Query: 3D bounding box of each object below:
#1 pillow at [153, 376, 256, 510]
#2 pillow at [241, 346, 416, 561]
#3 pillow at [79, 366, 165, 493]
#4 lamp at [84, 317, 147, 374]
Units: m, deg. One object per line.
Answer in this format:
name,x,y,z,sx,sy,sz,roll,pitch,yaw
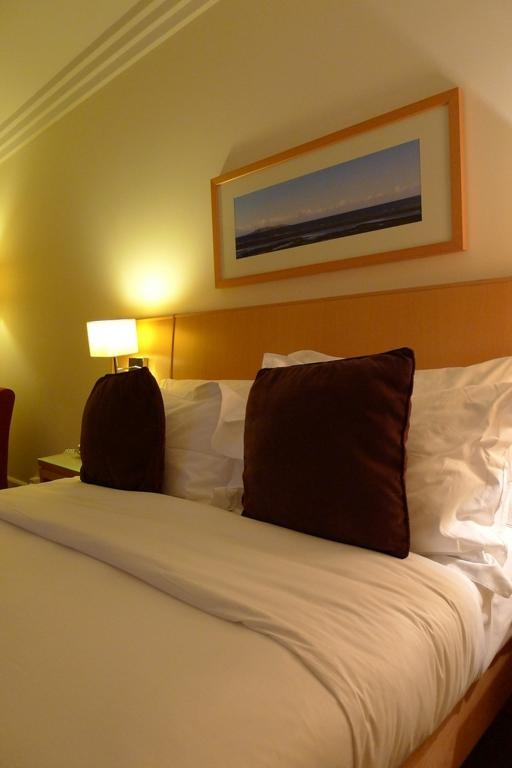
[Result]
pillow,-0.184,0.190,1.802,0.470,0.381,0.319,0,3,30
pillow,0.151,0.175,1.346,0.533,0.505,0.202,-10,-27,42
pillow,-0.477,0.177,1.854,0.405,0.471,0.168,-11,-17,44
lamp,-0.798,-0.134,2.862,0.228,0.414,0.244,-2,5,0
